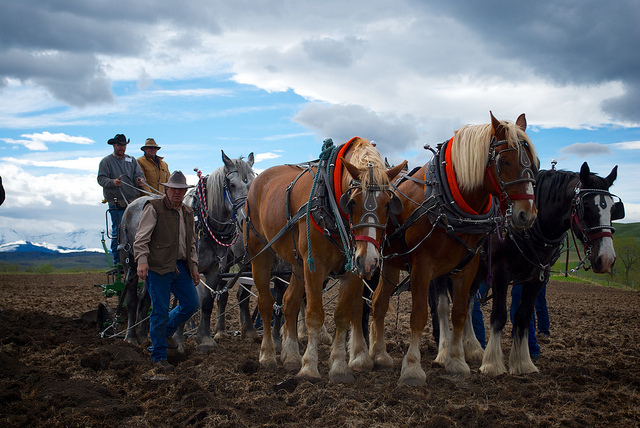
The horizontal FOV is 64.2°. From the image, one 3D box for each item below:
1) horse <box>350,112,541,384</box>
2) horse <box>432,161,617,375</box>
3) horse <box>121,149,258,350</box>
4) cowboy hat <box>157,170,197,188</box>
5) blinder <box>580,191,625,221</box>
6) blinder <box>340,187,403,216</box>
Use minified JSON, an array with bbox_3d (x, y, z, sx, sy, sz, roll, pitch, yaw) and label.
[{"bbox_3d":[1.806,0.773,8.766,1.546,3.788,4.990,9,-14,-24],"label":"horse"},{"bbox_3d":[3.357,1.126,9.173,1.281,3.335,4.610,11,-12,-13],"label":"horse"},{"bbox_3d":[-2.689,0.931,10.939,1.267,3.583,4.646,2,-6,-41],"label":"horse"},{"bbox_3d":[-2.385,-0.581,8.544,0.377,0.240,0.338,1,0,-7],"label":"cowboy hat"},{"bbox_3d":[4.305,-0.138,7.811,0.676,0.466,0.150,1,0,-3],"label":"blinder"},{"bbox_3d":[0.737,-0.197,7.507,0.909,0.390,0.263,1,0,-17],"label":"blinder"}]
